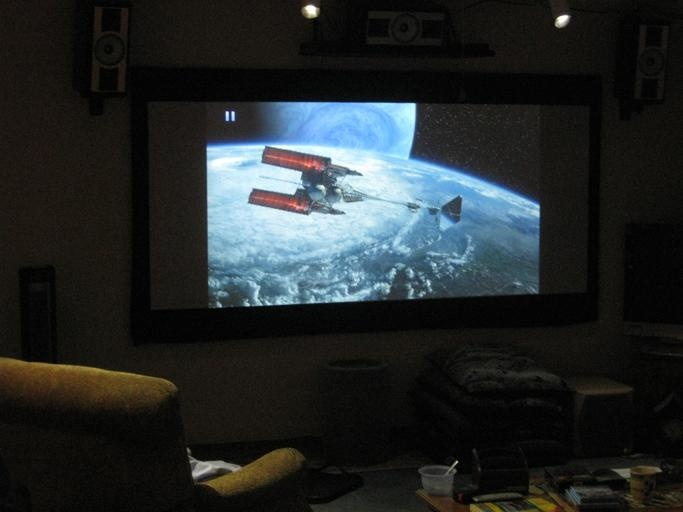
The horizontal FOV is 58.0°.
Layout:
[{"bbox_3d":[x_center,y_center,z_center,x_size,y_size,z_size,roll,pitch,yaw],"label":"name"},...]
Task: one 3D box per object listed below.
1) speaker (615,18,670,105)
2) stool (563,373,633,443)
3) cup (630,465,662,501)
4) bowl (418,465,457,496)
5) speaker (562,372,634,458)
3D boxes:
[{"bbox_3d":[2.057,-1.353,4.229,0.303,0.582,0.119,0,4,7],"label":"speaker"},{"bbox_3d":[1.681,1.003,4.139,0.397,0.346,0.373,0,5,-4],"label":"stool"},{"bbox_3d":[1.348,1.026,2.744,0.119,0.121,0.141,0,-7,4],"label":"cup"},{"bbox_3d":[0.442,1.064,2.940,0.140,0.072,0.135,1,-7,0],"label":"bowl"},{"bbox_3d":[1.672,1.026,4.329,0.465,0.472,0.746,-4,13,1],"label":"speaker"}]
